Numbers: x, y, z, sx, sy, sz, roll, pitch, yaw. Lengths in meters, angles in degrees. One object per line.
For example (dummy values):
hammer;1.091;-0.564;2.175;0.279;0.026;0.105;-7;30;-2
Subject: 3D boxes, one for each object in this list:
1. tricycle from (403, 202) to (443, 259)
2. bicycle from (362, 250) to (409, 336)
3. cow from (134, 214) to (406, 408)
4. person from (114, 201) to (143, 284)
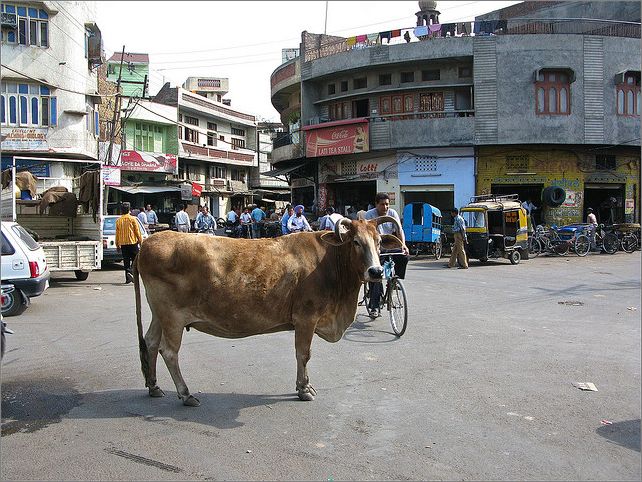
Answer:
tricycle;3.785;-0.547;25.644;1.248;2.234;1.204;7;10;37
bicycle;1.280;0.948;12.968;0.776;1.476;0.879;0;7;-9
cow;-0.874;0.955;9.807;3.177;2.486;0.823;-1;14;-7
person;-4.932;0.080;17.794;0.698;2.056;0.579;-4;3;8
